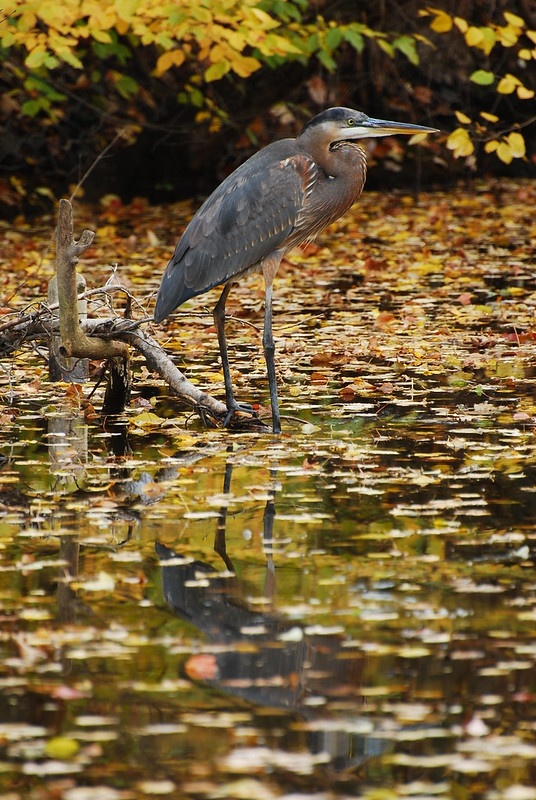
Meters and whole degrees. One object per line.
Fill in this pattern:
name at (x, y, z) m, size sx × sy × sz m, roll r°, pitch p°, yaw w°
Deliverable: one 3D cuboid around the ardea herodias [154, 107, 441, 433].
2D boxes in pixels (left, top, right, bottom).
ardea herodias at (0.003, -0.681, 5.081) m, size 0.871 × 1.494 × 1.180 m, roll 5°, pitch 16°, yaw 28°
